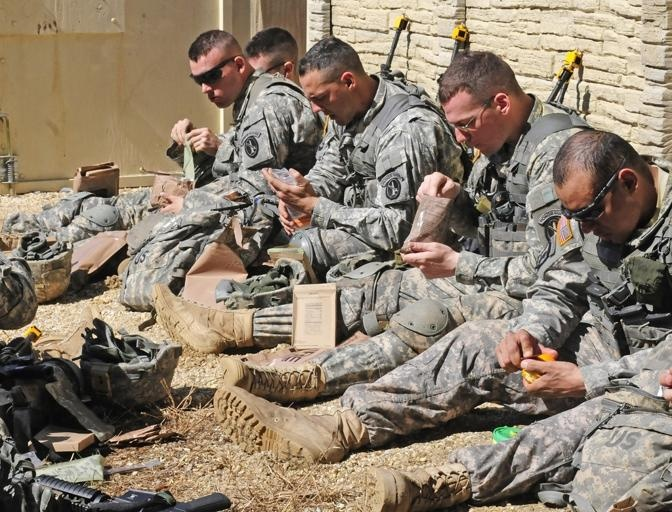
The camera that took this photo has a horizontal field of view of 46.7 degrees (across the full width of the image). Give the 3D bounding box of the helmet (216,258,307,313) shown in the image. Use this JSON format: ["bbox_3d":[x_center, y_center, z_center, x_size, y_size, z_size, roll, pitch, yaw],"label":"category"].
[{"bbox_3d":[-0.536,0.231,5.643,0.584,0.177,0.379,-10,8,-18],"label":"helmet"}]

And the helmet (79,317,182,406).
[{"bbox_3d":[-1.224,0.605,4.629,0.559,0.312,0.450,6,2,31],"label":"helmet"}]

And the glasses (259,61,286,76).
[{"bbox_3d":[-0.605,-1.844,7.731,0.237,0.056,0.222,-21,19,-26],"label":"glasses"}]

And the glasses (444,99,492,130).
[{"bbox_3d":[0.835,-0.886,4.792,0.065,0.198,0.165,35,0,-45],"label":"glasses"}]

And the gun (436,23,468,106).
[{"bbox_3d":[1.153,-1.942,7.592,0.172,0.605,0.161,0,24,-37],"label":"gun"}]
